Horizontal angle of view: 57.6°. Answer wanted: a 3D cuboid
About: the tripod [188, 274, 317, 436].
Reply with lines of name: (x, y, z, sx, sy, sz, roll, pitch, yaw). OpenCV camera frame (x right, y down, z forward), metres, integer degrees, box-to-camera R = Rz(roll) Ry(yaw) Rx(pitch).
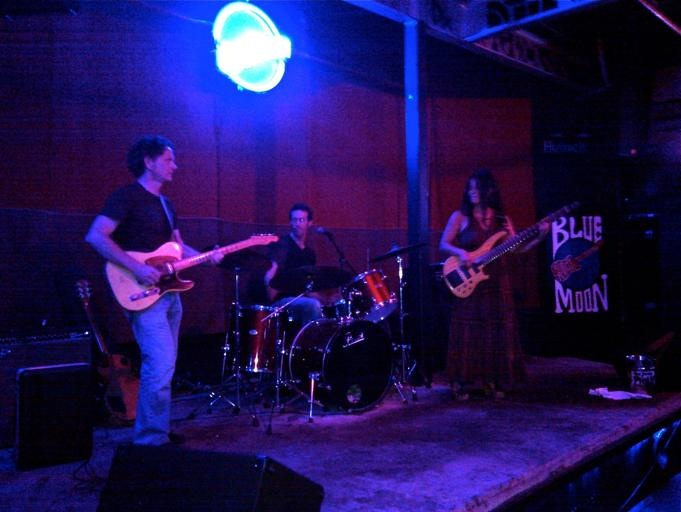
tripod: (-0.883, 0.921, 6.208, 1.258, 1.351, 1.379, 0, 25, -1)

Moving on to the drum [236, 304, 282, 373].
drum: (-0.766, 0.761, 6.092, 0.534, 0.805, 0.523, 2, 18, -1)

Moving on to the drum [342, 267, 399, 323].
drum: (0.300, 0.411, 5.980, 0.518, 0.377, 0.524, -19, -28, -11)

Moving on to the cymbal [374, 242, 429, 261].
cymbal: (0.577, -0.042, 6.131, 0.326, 0.069, 0.326, -21, -3, 6)

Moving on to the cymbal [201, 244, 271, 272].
cymbal: (-0.978, -0.060, 5.855, 0.411, 0.104, 0.384, 22, -44, -40)
